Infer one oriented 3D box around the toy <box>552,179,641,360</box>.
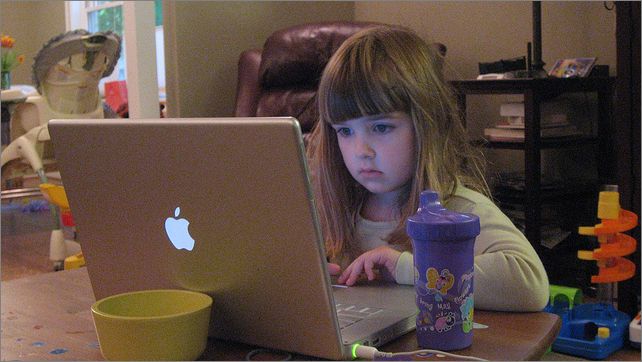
[{"bbox_3d":[1.154,0.348,1.966,0.246,0.606,0.676,4,10,38],"label":"toy"}]
